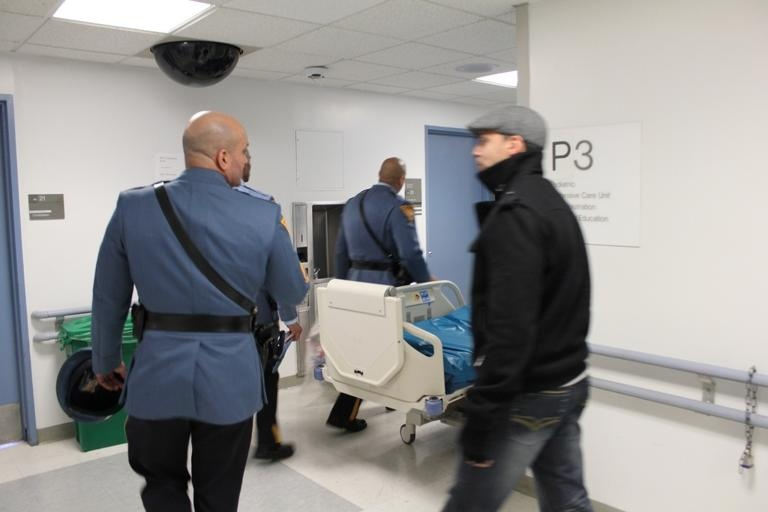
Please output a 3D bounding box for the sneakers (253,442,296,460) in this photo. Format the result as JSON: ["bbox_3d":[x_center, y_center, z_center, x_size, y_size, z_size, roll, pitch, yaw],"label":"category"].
[{"bbox_3d":[-0.833,1.491,4.261,0.326,0.131,0.117,-6,4,-29],"label":"sneakers"}]

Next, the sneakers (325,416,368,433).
[{"bbox_3d":[-0.311,1.417,4.618,0.380,0.142,0.120,1,2,-12],"label":"sneakers"}]

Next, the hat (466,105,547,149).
[{"bbox_3d":[0.547,-0.561,2.464,0.286,0.114,0.192,15,6,5],"label":"hat"}]

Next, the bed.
[{"bbox_3d":[0.310,0.624,4.145,0.962,0.909,1.359,5,10,38],"label":"bed"}]
